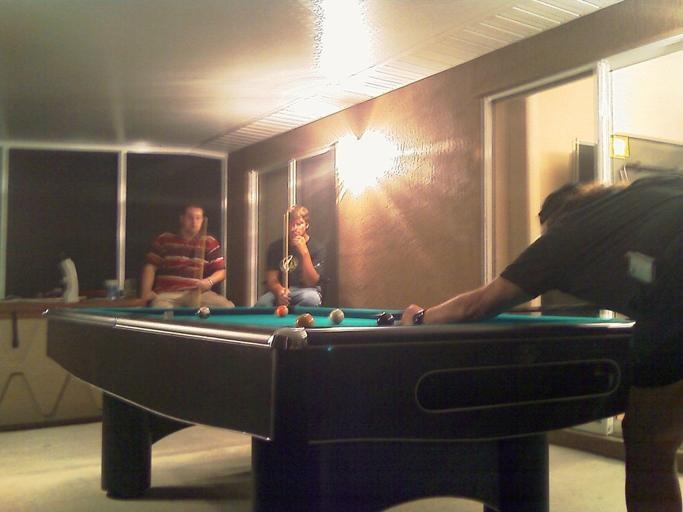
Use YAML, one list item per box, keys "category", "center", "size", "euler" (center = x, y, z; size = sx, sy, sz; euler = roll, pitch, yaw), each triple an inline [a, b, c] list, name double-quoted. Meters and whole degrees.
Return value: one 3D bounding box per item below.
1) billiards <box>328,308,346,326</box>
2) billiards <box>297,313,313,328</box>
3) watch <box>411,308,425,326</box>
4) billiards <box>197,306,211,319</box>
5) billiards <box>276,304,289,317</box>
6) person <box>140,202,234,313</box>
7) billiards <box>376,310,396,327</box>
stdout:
- category: "billiards"
  center: [-0.027, 0.258, 2.855]
  size: [0.061, 0.061, 0.051]
  euler: [35, 20, 34]
- category: "billiards"
  center: [-0.117, 0.216, 2.233]
  size: [0.038, 0.030, 0.041]
  euler: [3, -8, -22]
- category: "watch"
  center: [0.287, 0.236, 2.577]
  size: [0.029, 0.060, 0.045]
  euler: [5, -40, -4]
- category: "billiards"
  center: [-0.655, 0.270, 3.214]
  size: [0.060, 0.040, 0.054]
  euler: [0, -7, -10]
- category: "billiards"
  center: [-0.301, 0.278, 3.466]
  size: [0.055, 0.045, 0.061]
  euler: [2, -6, -9]
- category: "person"
  center: [-1.346, 0.039, 5.854]
  size: [0.803, 0.917, 0.688]
  euler: [4, 7, -25]
- category: "billiards"
  center: [0.171, 0.243, 2.569]
  size: [0.067, 0.060, 0.042]
  euler: [-3, 3, -18]
